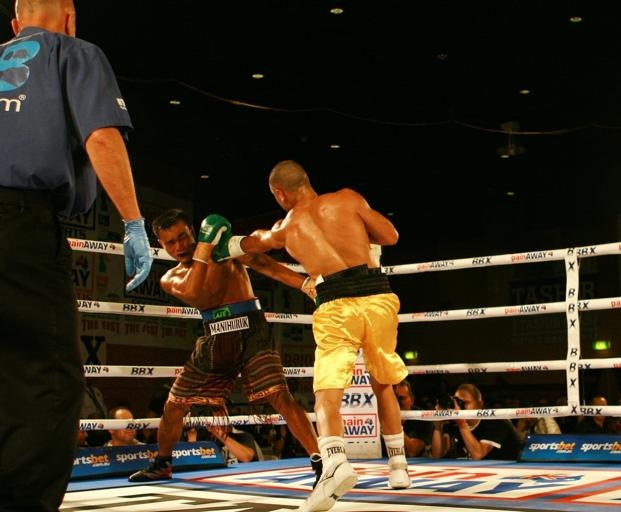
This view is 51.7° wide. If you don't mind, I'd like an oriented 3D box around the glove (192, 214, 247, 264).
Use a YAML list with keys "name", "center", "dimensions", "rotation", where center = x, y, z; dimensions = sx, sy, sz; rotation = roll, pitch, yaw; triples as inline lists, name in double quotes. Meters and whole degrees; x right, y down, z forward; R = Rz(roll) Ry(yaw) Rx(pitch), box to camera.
- name: "glove"
  center: [-0.506, -0.121, 3.851]
  dimensions: [0.289, 0.286, 0.165]
  rotation: [4, 25, 34]

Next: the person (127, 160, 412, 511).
- name: "person"
  center: [0.050, 0.288, 3.143]
  dimensions: [0.767, 1.692, 0.660]
  rotation: [-3, -13, 7]
